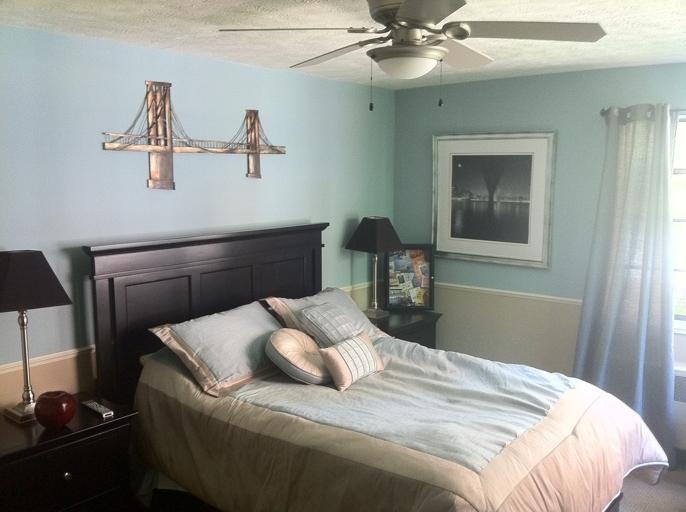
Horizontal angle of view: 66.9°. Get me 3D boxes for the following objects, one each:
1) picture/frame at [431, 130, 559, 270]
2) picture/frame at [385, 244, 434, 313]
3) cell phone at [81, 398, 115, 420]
[{"bbox_3d":[1.385,-0.530,4.626,1.196,1.221,0.052,6,12,35],"label":"picture/frame"},{"bbox_3d":[0.607,0.190,4.865,0.632,0.823,0.095,0,1,-3],"label":"picture/frame"},{"bbox_3d":[-1.419,0.840,2.988,0.085,0.048,0.282,-5,7,-37],"label":"cell phone"}]
